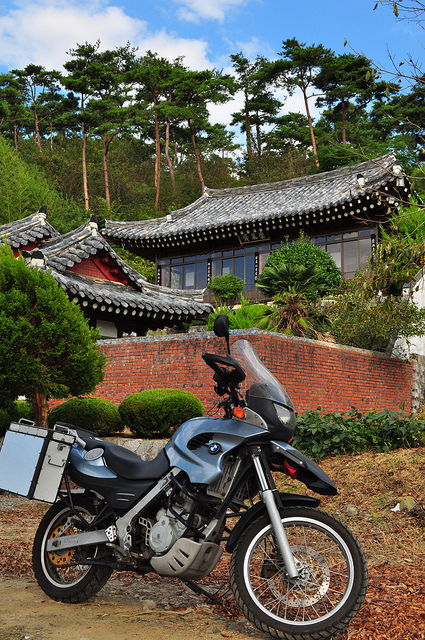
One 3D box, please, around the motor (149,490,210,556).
[{"bbox_3d":[-0.229,1.158,4.004,0.273,0.220,0.419,-56,12,-29],"label":"motor"}]
